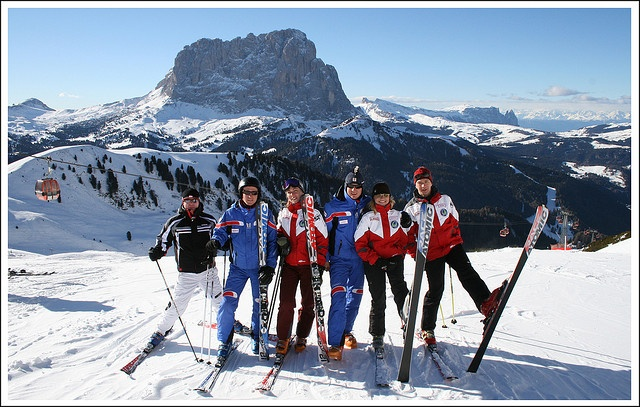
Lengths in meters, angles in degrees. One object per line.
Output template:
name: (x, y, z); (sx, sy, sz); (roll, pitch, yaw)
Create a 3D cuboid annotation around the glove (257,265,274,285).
glove: (-1.492, 1.952, 12.749); (0.401, 0.430, 0.486); (-5, 8, -11)

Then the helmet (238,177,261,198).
helmet: (-2.017, -0.466, 13.240); (0.510, 0.567, 0.624); (3, -10, -8)

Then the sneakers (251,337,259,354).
sneakers: (-1.821, 3.997, 12.898); (0.164, 0.196, 0.466); (5, 13, -12)

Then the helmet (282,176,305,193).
helmet: (-0.802, -0.619, 13.062); (0.364, 0.468, 0.359); (-9, 27, 1)

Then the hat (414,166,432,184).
hat: (2.916, -0.849, 13.253); (0.372, 0.365, 0.498); (-10, -23, 14)

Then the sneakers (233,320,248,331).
sneakers: (-2.309, 3.606, 13.452); (0.384, 0.116, 0.288); (29, -10, -20)

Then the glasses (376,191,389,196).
glasses: (1.755, -0.277, 12.857); (0.321, 0.092, 0.086); (2, 7, -2)

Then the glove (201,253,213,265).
glove: (-3.240, 1.610, 13.233); (0.279, 0.340, 0.125); (-9, 7, -13)

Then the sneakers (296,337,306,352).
sneakers: (-0.553, 3.919, 12.792); (0.215, 0.161, 0.402); (6, 51, -1)
